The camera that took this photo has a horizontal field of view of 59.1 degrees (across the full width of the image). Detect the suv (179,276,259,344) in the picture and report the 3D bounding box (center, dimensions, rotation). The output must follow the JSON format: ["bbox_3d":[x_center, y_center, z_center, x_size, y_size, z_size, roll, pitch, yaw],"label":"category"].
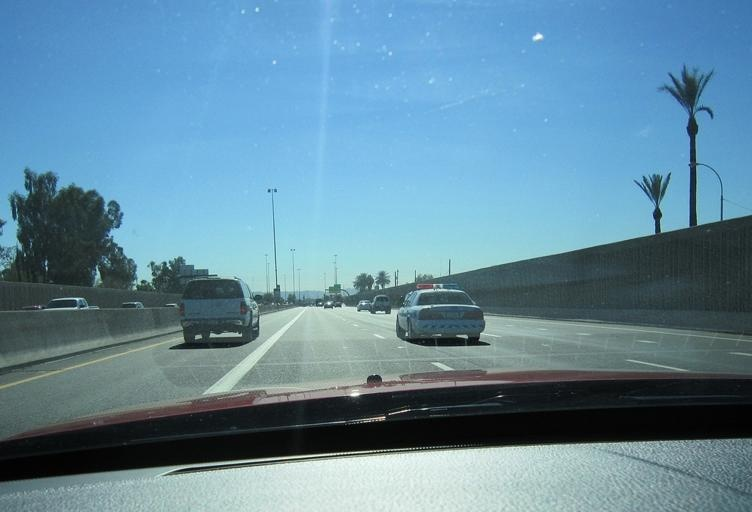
[{"bbox_3d":[-5.588,0.934,23.019,2.149,2.135,4.372,-1,23,-15],"label":"suv"}]
